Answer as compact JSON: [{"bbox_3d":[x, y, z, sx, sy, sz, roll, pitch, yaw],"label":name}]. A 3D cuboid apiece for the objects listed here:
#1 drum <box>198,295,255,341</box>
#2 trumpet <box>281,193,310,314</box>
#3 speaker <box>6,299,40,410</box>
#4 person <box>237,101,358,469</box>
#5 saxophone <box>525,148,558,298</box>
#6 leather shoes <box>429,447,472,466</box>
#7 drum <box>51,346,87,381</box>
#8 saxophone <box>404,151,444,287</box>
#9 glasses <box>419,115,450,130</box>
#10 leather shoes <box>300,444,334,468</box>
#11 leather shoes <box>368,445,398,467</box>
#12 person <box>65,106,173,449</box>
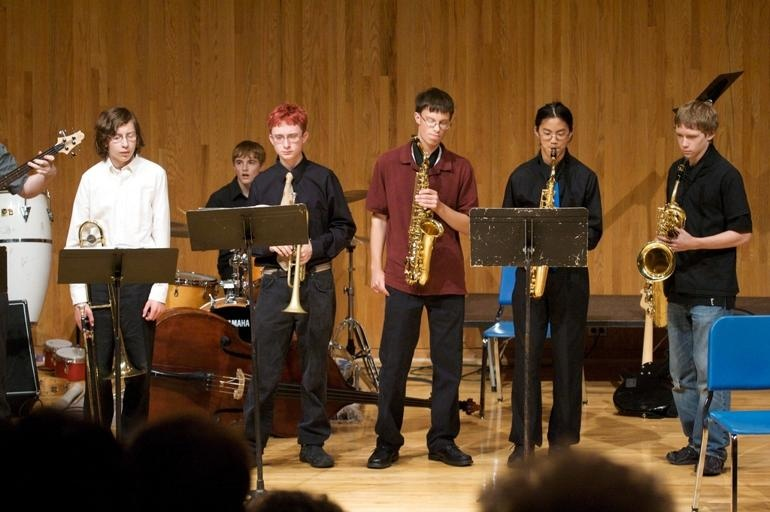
[{"bbox_3d":[-1.294,0.488,6.895,0.368,0.541,0.584,2,10,3],"label":"drum"},{"bbox_3d":[-0.625,0.173,5.562,0.138,0.486,0.283,-1,8,-7],"label":"trumpet"},{"bbox_3d":[-2.885,0.797,6.434,0.233,0.862,0.348,-3,8,-26],"label":"speaker"},{"bbox_3d":[-0.626,0.230,5.978,0.790,2.676,0.753,0,1,5],"label":"person"},{"bbox_3d":[1.089,-0.211,5.582,0.157,1.038,0.412,2,8,12],"label":"saxophone"},{"bbox_3d":[0.466,1.427,5.820,0.305,0.136,0.121,-2,0,30],"label":"leather shoes"},{"bbox_3d":[-2.634,0.908,6.909,0.356,0.297,0.372,3,-1,0],"label":"drum"},{"bbox_3d":[0.241,-0.260,5.667,0.221,0.989,0.225,0,2,2],"label":"saxophone"},{"bbox_3d":[0.345,-0.924,5.680,0.205,0.087,0.105,0,8,-3],"label":"glasses"},{"bbox_3d":[-0.484,1.430,5.763,0.104,0.146,0.296,2,-10,-34],"label":"leather shoes"},{"bbox_3d":[-0.019,1.435,5.756,0.095,0.118,0.258,-4,-14,24],"label":"leather shoes"},{"bbox_3d":[-1.882,0.247,5.719,0.662,2.532,0.672,-1,16,-19],"label":"person"}]
